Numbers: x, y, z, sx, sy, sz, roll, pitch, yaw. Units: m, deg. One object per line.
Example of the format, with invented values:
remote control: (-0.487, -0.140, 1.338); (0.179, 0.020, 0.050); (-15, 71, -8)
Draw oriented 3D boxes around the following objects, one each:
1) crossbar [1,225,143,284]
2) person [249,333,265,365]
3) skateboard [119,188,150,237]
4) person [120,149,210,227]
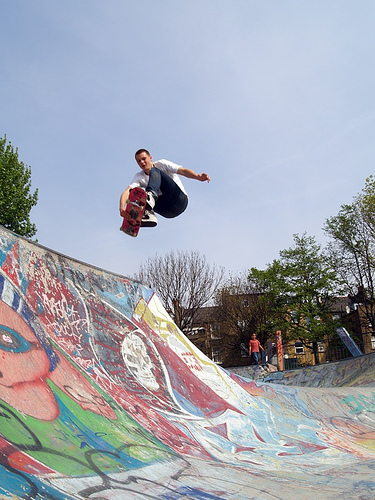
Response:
crossbar: (-1.332, 0.129, 4.131); (1.540, 0.068, 0.160); (27, -13, -29)
person: (2.635, 3.787, 16.066); (0.494, 1.126, 2.184); (-4, -13, 9)
skateboard: (-0.669, -0.481, 5.211); (0.284, 0.102, 0.701); (19, -41, -2)
person: (-0.340, -0.851, 5.607); (0.942, 1.288, 0.939); (19, -44, -22)
